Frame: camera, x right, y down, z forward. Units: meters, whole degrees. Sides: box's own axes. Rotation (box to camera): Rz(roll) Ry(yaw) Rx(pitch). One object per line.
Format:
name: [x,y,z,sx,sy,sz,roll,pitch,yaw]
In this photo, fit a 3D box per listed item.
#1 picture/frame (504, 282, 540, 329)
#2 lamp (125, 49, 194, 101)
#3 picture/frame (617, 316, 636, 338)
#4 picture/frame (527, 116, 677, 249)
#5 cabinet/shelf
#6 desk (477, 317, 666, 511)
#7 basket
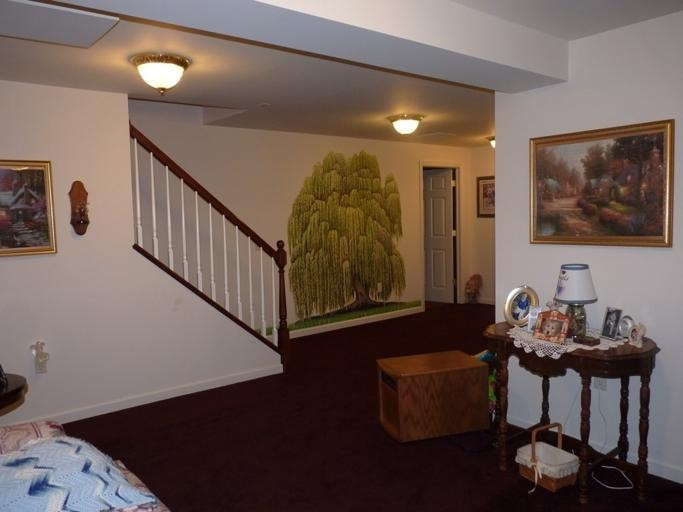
picture/frame: [1.282,0.356,3.472,0.254,0.276,0.018,-10,14,-29]
lamp: [-1.363,-1.373,3.704,0.442,0.225,0.340,-3,8,-17]
picture/frame: [1.822,0.457,3.143,0.078,0.165,0.133,1,1,-23]
picture/frame: [1.819,-0.507,3.355,0.852,0.777,0.061,5,10,43]
cabinet/shelf: [0.725,1.084,3.862,0.830,0.560,0.393,-3,7,-14]
desk: [1.547,0.776,3.389,0.848,1.105,1.318,-3,4,-35]
basket: [1.365,1.282,3.284,0.353,0.404,0.393,-2,2,-33]
